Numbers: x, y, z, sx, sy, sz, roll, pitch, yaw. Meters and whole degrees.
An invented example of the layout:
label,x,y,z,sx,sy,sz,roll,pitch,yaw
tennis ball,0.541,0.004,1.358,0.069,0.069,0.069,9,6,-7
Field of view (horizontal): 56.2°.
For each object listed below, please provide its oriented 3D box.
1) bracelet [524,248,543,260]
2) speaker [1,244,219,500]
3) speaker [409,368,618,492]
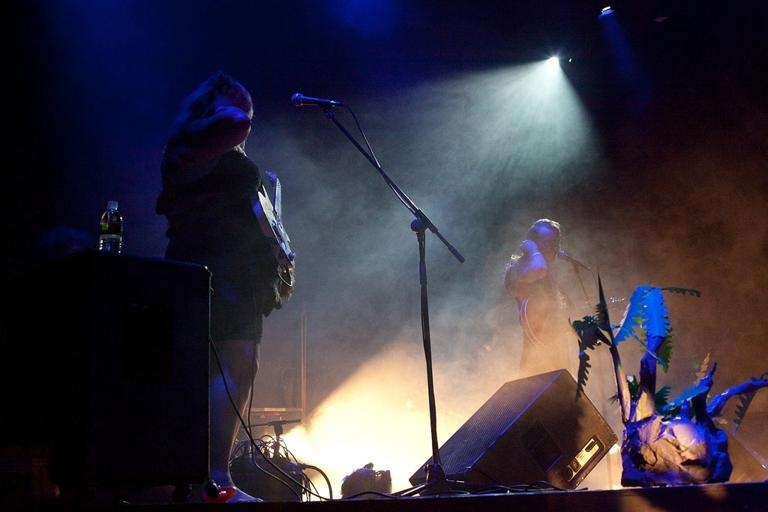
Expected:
label,x,y,z,sx,sy,sz,roll,pitch,yaw
bracelet,1.399,-0.039,6.786,0.112,0.136,0.141,2,18,-45
speaker,-1.611,0.715,4.183,0.694,1.132,1.223,7,-14,-41
speaker,1.015,1.214,5.095,1.201,0.841,0.686,-3,-25,3
